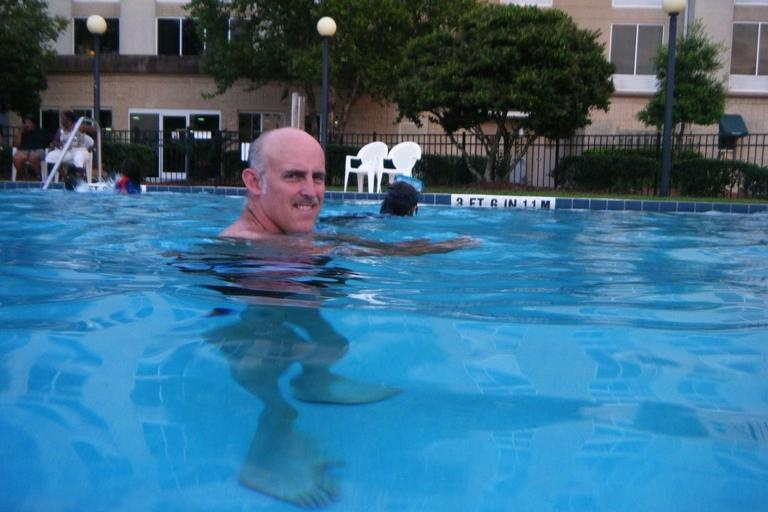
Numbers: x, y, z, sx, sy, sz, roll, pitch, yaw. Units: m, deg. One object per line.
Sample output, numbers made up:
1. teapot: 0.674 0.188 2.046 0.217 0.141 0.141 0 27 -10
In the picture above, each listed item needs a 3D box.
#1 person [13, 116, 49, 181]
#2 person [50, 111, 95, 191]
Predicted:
1. person: -6.601 -2.019 13.870 0.743 1.184 0.670 -2 5 -18
2. person: -5.172 -1.776 12.179 0.710 1.181 0.644 3 9 17
